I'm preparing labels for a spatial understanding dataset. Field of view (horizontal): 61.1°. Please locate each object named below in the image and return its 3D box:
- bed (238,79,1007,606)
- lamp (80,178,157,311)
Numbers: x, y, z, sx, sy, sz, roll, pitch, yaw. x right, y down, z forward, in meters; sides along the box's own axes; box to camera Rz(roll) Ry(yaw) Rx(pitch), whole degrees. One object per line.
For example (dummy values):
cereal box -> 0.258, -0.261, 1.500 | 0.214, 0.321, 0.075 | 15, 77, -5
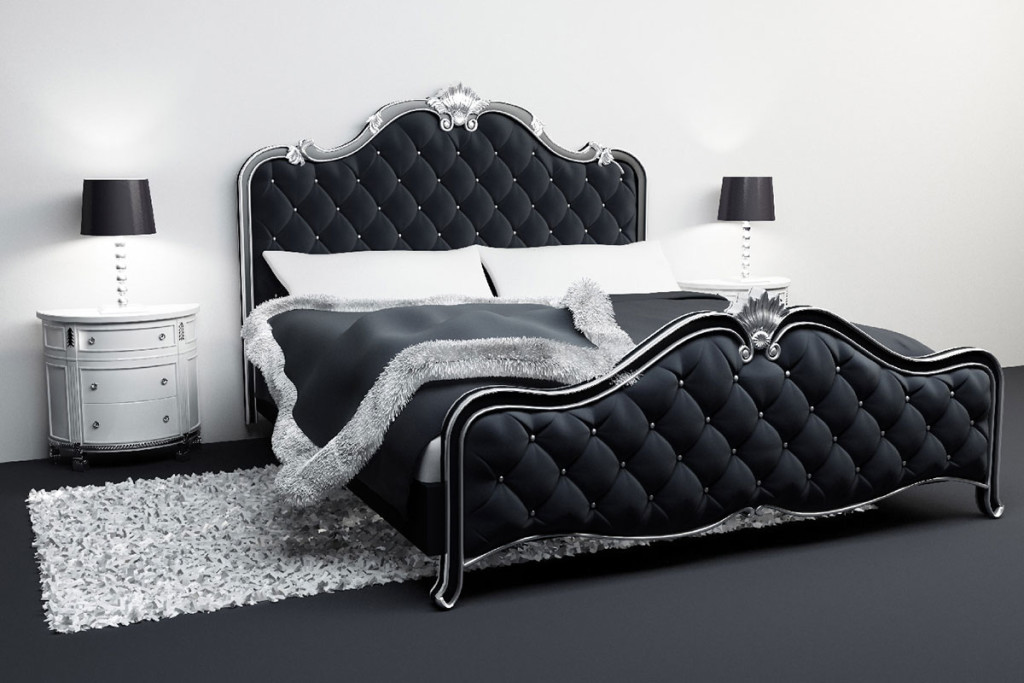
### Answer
bed -> 0.012, 0.085, 4.341 | 2.909, 2.046, 2.876 | -4, 8, -26
lamp -> -1.976, -0.497, 4.338 | 0.332, 0.637, 0.292 | -6, 9, -24
